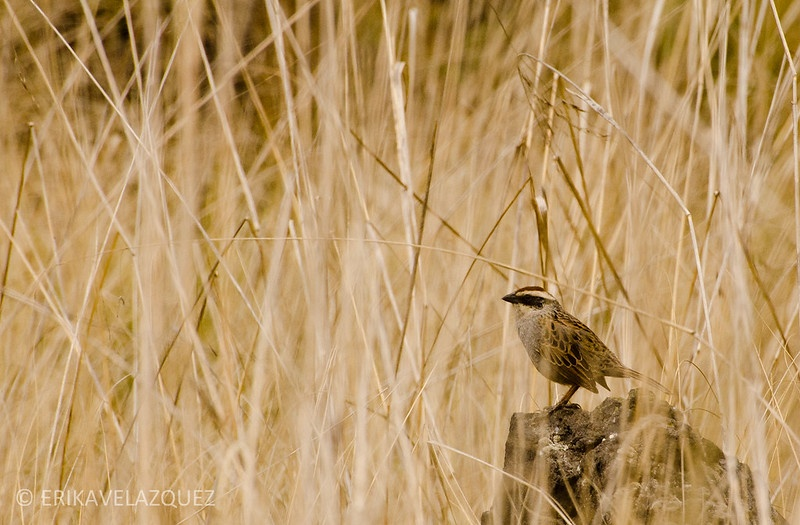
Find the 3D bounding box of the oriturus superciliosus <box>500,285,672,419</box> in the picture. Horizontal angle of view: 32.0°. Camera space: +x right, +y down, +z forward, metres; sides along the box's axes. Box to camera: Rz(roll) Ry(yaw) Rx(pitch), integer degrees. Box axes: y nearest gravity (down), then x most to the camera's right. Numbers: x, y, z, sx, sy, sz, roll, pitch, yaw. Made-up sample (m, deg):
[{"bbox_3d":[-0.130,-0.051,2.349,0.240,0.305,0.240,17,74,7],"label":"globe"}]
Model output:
[{"bbox_3d":[1.297,0.602,9.879,1.102,0.917,0.433,-2,-5,27],"label":"oriturus superciliosus"}]
